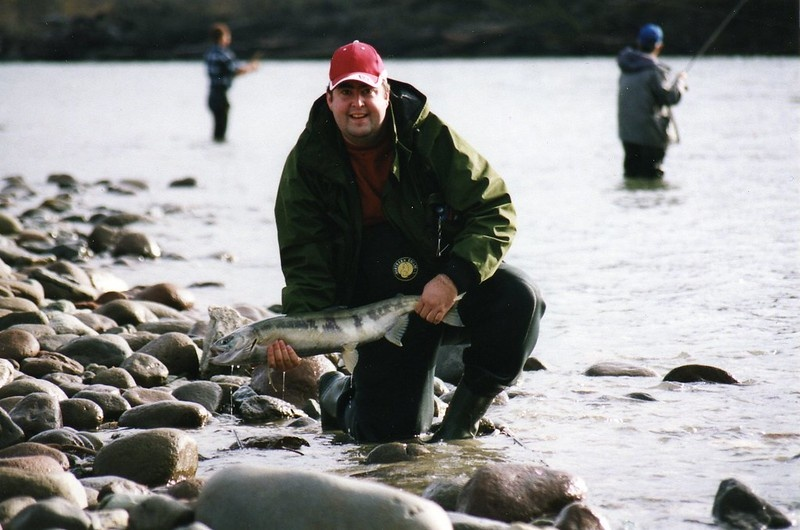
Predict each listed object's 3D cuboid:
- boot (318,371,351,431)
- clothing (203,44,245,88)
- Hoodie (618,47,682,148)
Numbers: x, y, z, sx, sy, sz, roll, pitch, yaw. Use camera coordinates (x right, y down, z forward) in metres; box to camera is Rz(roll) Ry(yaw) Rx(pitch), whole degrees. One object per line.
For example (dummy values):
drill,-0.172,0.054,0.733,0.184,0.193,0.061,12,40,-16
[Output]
boot,-0.845,1.655,18.258,0.451,0.632,0.311,-13,-19,22
clothing,-3.603,-3.979,29.745,0.717,0.865,0.603,-1,12,-9
Hoodie,4.332,-2.886,25.698,1.306,1.704,0.396,9,14,34
